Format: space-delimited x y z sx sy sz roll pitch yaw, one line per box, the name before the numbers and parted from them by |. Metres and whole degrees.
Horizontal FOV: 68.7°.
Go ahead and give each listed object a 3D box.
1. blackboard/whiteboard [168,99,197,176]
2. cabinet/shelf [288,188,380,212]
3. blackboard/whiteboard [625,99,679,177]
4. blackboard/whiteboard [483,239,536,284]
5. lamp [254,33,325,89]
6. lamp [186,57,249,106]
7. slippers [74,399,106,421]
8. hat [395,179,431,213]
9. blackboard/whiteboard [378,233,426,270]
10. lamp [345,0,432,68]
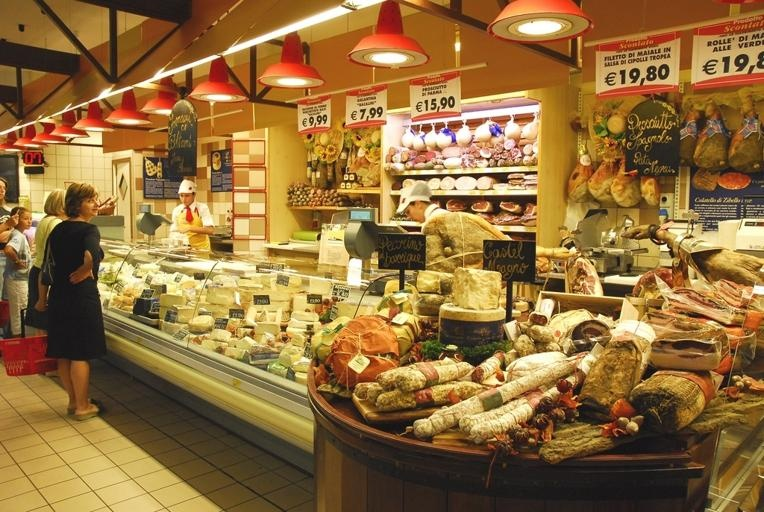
blackboard/whiteboard | -2.274 -1.345 6.378 0.200 0.875 0.753 -10 14 -36
cabinet/shelf | -0.798 -0.849 8.434 1.574 0.389 0.507 9 15 41
blackboard/whiteboard | 2.600 -1.161 5.392 0.511 0.737 0.241 5 13 27
blackboard/whiteboard | 0.631 0.028 2.769 0.235 0.178 0.027 4 3 21
lamp | -0.741 -1.570 4.435 0.468 0.388 0.519 -11 15 -40
lamp | -1.443 -1.515 5.013 0.464 0.439 0.465 -1 4 0
slippers | -2.598 1.370 4.964 0.108 0.083 0.214 5 9 15
hat | 0.292 -0.624 5.656 0.219 0.281 0.455 -6 13 -24
blackboard/whiteboard | 0.114 -0.027 3.104 0.222 0.149 0.028 1 -3 10
lamp | 0.037 -1.567 3.896 0.517 0.403 0.542 4 12 21
